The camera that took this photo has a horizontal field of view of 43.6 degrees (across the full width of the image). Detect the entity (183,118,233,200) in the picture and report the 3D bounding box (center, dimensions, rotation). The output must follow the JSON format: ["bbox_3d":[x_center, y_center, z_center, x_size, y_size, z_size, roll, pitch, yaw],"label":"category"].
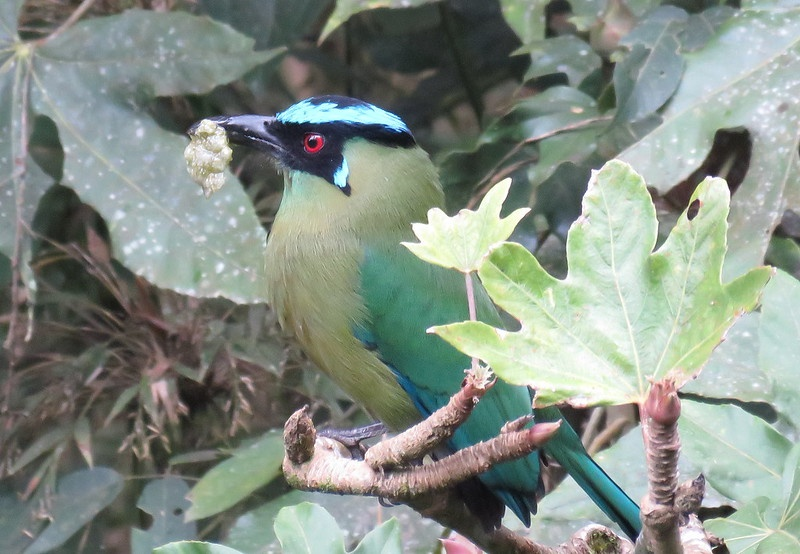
[{"bbox_3d":[-0.688,-0.439,3.654,0.165,0.087,0.276,1,78,-4],"label":"entity"}]
